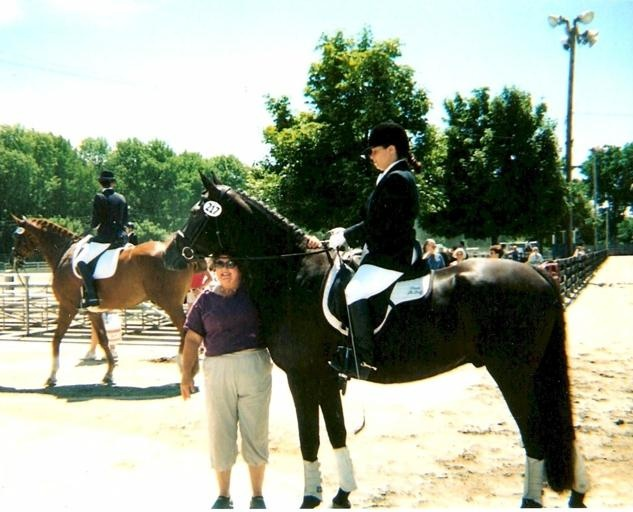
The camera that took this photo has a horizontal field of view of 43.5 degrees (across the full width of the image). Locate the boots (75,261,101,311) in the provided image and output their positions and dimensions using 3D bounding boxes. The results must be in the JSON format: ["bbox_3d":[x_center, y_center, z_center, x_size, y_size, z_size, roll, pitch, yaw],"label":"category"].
[{"bbox_3d":[-3.567,0.422,12.380,0.303,0.779,0.321,0,0,-27],"label":"boots"}]

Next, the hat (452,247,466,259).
[{"bbox_3d":[3.021,-0.048,16.789,0.241,0.338,0.322,-1,-13,16],"label":"hat"}]

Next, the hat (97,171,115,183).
[{"bbox_3d":[-3.450,-1.314,13.029,0.206,0.132,0.244,1,2,-4],"label":"hat"}]

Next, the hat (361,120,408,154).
[{"bbox_3d":[0.795,-1.327,8.784,0.409,0.230,0.316,7,12,8],"label":"hat"}]

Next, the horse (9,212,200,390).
[{"bbox_3d":[-3.367,0.668,12.889,3.640,2.761,0.920,0,4,12],"label":"horse"}]

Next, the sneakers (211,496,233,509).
[{"bbox_3d":[-1.019,2.666,8.585,0.105,0.109,0.248,-4,-11,29],"label":"sneakers"}]
